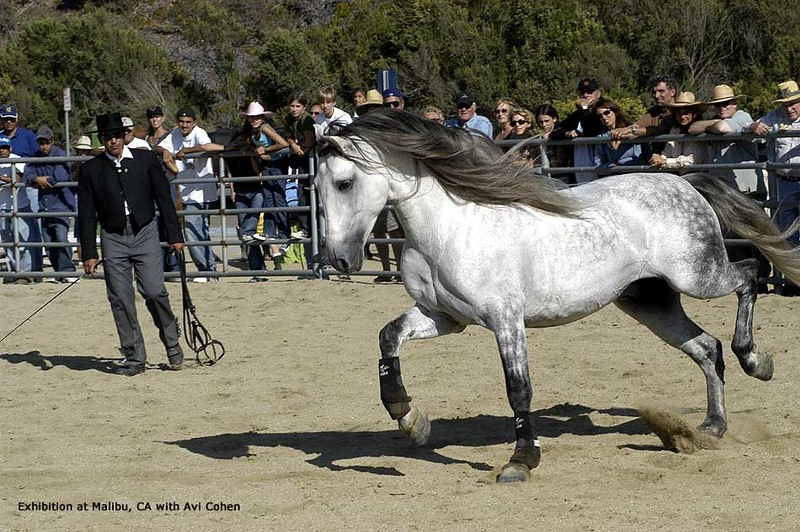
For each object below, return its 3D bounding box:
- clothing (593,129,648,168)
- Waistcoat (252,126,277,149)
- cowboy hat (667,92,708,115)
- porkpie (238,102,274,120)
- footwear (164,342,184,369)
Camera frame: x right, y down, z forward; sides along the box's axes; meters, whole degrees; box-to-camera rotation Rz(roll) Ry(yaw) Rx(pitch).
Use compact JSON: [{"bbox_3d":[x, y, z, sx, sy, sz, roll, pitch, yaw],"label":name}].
[{"bbox_3d":[2.928,-1.665,17.256,0.990,0.559,0.468,-1,1,6],"label":"clothing"},{"bbox_3d":[-1.872,-1.820,18.201,0.330,0.230,0.269,2,5,2],"label":"Waistcoat"},{"bbox_3d":[3.791,-2.160,16.802,0.394,0.131,0.394,0,-10,26],"label":"cowboy hat"},{"bbox_3d":[-2.030,-2.206,18.178,0.336,0.116,0.328,-2,-3,0],"label":"porkpie"},{"bbox_3d":[-2.775,1.129,15.865,0.159,0.354,0.168,-13,-10,19],"label":"footwear"}]
